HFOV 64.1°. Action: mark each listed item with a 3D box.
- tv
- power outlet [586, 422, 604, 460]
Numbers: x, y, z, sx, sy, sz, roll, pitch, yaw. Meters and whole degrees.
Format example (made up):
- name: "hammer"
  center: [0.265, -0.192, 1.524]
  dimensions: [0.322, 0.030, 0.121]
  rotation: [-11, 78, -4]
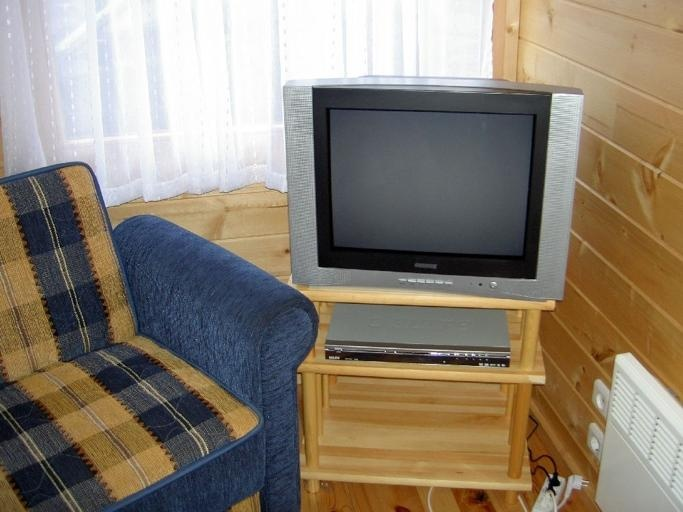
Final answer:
- name: "tv"
  center: [0.303, -0.279, 1.882]
  dimensions: [0.905, 0.704, 0.499]
  rotation: [3, 25, 13]
- name: "power outlet"
  center: [0.848, 0.630, 1.844]
  dimensions: [0.036, 0.128, 0.129]
  rotation: [5, 9, 16]
